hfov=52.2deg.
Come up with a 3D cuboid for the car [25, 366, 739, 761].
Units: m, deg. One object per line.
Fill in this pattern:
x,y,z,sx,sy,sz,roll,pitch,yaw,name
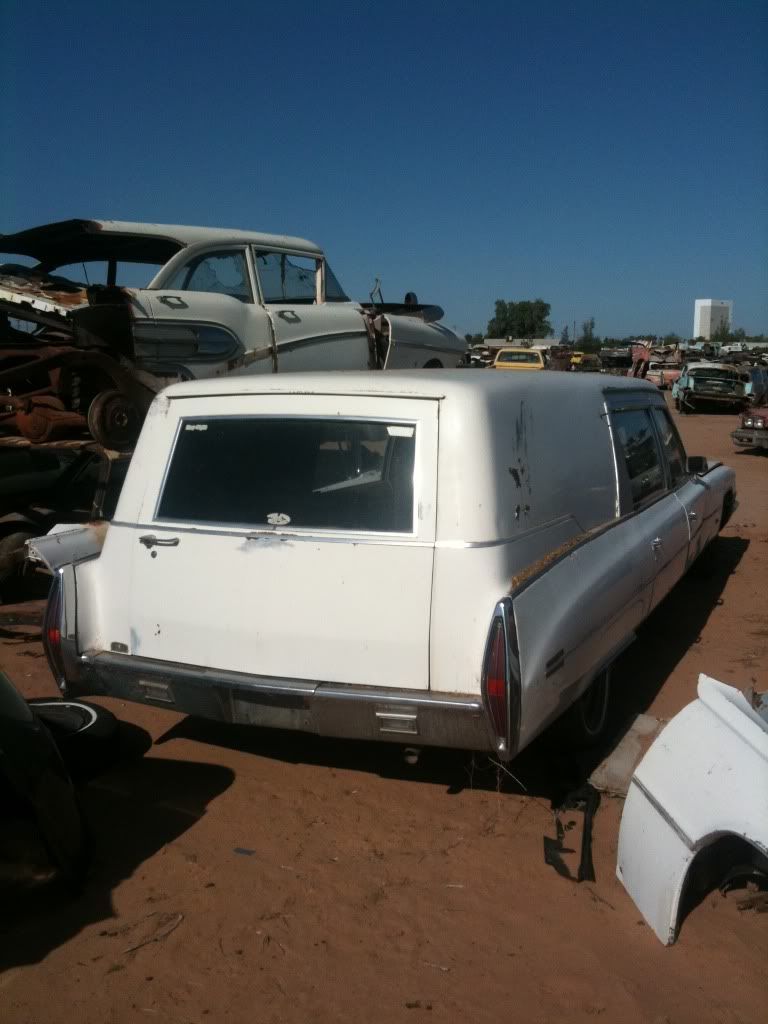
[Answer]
0.375,-0.042,3.486,1.569,0.888,2.574,5,14,31,car
